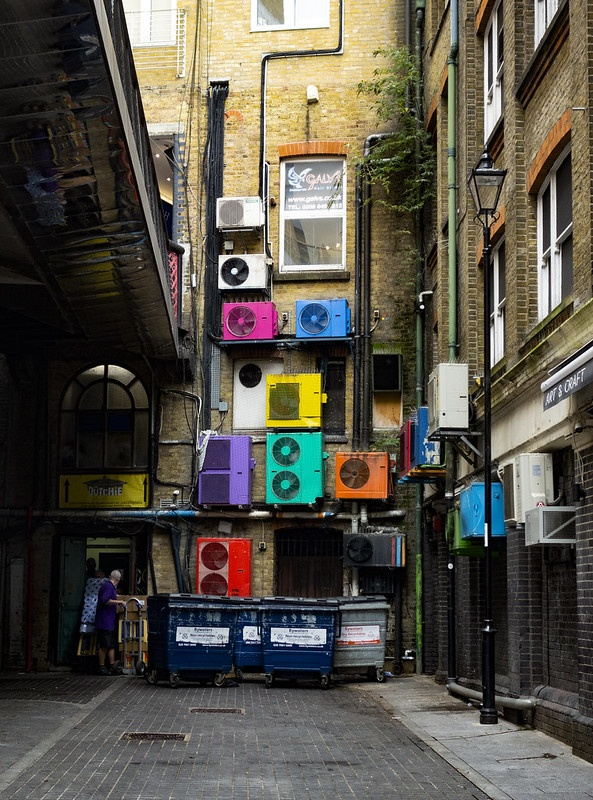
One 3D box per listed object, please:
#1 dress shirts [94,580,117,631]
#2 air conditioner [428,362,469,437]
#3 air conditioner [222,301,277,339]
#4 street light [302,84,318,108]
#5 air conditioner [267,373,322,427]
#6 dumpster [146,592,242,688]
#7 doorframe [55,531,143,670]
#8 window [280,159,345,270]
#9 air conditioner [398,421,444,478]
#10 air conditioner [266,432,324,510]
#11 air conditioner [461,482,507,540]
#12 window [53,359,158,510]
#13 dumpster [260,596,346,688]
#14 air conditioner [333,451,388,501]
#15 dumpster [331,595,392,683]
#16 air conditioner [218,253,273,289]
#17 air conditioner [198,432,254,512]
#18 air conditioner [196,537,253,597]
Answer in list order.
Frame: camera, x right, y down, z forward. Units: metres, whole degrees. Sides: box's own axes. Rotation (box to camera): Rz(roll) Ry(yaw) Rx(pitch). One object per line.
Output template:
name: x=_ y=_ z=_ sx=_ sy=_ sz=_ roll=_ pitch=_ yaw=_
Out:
dress shirts: x=-3.043 y=3.316 z=18.739 sx=0.317 sy=0.780 sz=0.541 roll=4 pitch=-13 yaw=-12
air conditioner: x=1.911 y=0.011 z=14.522 sx=0.380 sy=0.839 sz=0.502 roll=3 pitch=-13 yaw=-11
air conditioner: x=-0.812 y=-1.325 z=20.910 sx=0.850 sy=0.782 sz=0.597 roll=-1 pitch=-9 yaw=2
street light: x=0.304 y=-5.722 z=21.770 sx=0.243 sy=0.552 sz=0.272 roll=-1 pitch=-13 yaw=5
air conditioner: x=-0.012 y=0.008 z=20.425 sx=0.668 sy=0.775 sz=0.294 roll=0 pitch=-9 yaw=6
dumpster: x=-1.491 y=3.437 z=16.591 sx=1.138 sy=1.358 sz=0.940 roll=5 pitch=-6 yaw=-24
doorframe: x=-4.066 y=3.613 z=21.367 sx=1.385 sy=2.328 sz=1.273 roll=0 pitch=-8 yaw=-16
window: x=0.321 y=-3.467 z=21.818 sx=1.234 sy=2.747 sz=0.276 roll=0 pitch=-27 yaw=3
air conditioner: x=1.892 y=0.514 z=17.591 sx=0.578 sy=1.063 sz=1.163 roll=1 pitch=-7 yaw=0
air conditioner: x=-0.010 y=0.934 z=20.483 sx=1.042 sy=0.943 sz=1.567 roll=-7 pitch=-53 yaw=-9
air conditioner: x=2.152 y=1.459 z=13.406 sx=0.438 sy=0.712 sz=0.874 roll=1 pitch=-8 yaw=0
window: x=-3.502 y=0.621 z=21.369 sx=1.665 sy=3.159 sz=0.113 roll=0 pitch=-27 yaw=-9
dumpster: x=0.055 y=3.484 z=16.893 sx=1.216 sy=1.818 sz=1.061 roll=0 pitch=-23 yaw=1
air conditioner: x=1.151 y=1.482 z=20.135 sx=0.929 sy=1.055 sz=0.691 roll=-1 pitch=-13 yaw=6
dumpster: x=0.973 y=3.655 z=17.702 sx=0.987 sy=1.627 sz=1.007 roll=0 pitch=-10 yaw=-1
air conditioner: x=-0.936 y=-2.267 z=20.879 sx=0.827 sy=0.817 sz=0.571 roll=0 pitch=-1 yaw=10
air conditioner: x=-1.261 y=1.088 z=20.579 sx=0.950 sy=1.454 sz=0.496 roll=0 pitch=27 yaw=-10
air conditioner: x=-1.250 y=2.924 z=20.199 sx=0.679 sy=1.032 sz=0.378 roll=0 pitch=-17 yaw=2
